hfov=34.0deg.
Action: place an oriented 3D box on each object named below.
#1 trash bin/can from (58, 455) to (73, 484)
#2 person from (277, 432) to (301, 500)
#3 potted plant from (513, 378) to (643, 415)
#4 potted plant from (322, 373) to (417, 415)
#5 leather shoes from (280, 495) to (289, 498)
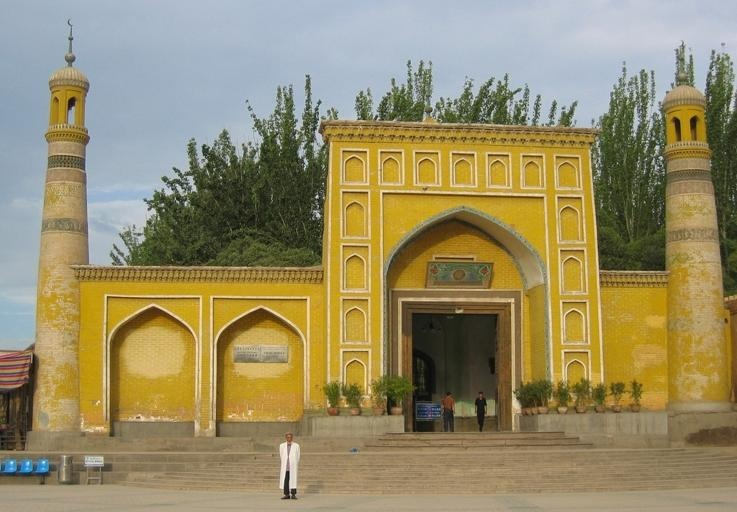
[{"bbox_3d":[-6.970,4.881,27.612,0.339,0.635,0.242,1,-9,-16],"label":"trash bin/can"},{"bbox_3d":[-1.683,4.442,25.504,0.404,1.356,0.522,0,-9,-14],"label":"person"},{"bbox_3d":[5.351,3.575,30.834,2.991,0.861,0.721,-1,-8,-6],"label":"potted plant"},{"bbox_3d":[-0.028,3.536,30.594,2.243,0.943,0.820,-2,-8,0],"label":"potted plant"},{"bbox_3d":[-1.756,5.071,25.420,0.212,0.096,0.072,3,-12,6],"label":"leather shoes"}]
